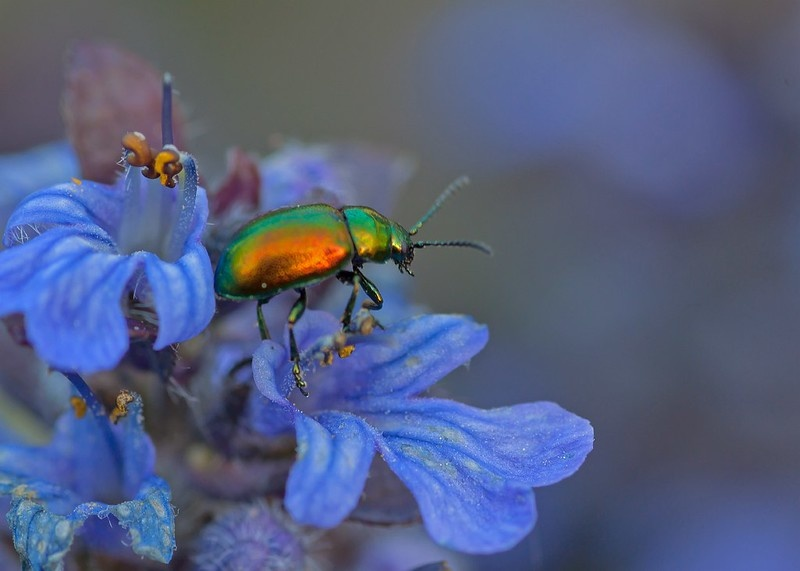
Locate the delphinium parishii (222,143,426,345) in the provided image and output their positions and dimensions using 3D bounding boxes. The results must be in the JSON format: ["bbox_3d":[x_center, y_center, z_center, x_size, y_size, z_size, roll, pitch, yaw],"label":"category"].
[{"bbox_3d":[-0.296,-0.083,3.364,0.790,0.468,0.580,-9,36,-8],"label":"delphinium parishii"}]
